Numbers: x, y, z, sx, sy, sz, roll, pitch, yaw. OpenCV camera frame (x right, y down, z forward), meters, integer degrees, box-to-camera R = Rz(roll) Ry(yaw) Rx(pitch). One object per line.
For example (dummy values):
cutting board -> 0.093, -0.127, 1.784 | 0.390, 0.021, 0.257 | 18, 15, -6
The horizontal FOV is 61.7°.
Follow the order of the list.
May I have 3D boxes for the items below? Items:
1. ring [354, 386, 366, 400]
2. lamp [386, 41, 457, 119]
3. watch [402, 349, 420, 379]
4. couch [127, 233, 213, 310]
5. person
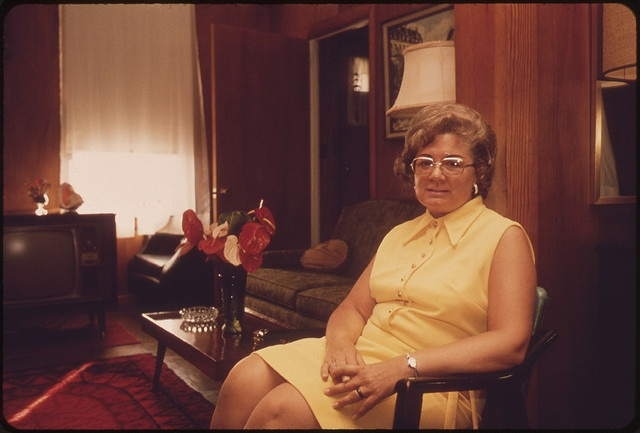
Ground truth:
ring -> 0.159, 0.692, 2.096 | 0.025, 0.033, 0.034 | -15, 5, -8
lamp -> 0.581, -0.732, 3.062 | 0.435, 0.317, 0.440 | -2, 5, -14
watch -> 0.365, 0.585, 2.116 | 0.052, 0.081, 0.082 | -2, 6, -2
couch -> -1.552, 0.583, 5.278 | 0.767, 0.854, 1.036 | 4, -3, -38
person -> 0.122, 0.233, 2.958 | 1.528, 1.960, 1.099 | 4, -1, -13
